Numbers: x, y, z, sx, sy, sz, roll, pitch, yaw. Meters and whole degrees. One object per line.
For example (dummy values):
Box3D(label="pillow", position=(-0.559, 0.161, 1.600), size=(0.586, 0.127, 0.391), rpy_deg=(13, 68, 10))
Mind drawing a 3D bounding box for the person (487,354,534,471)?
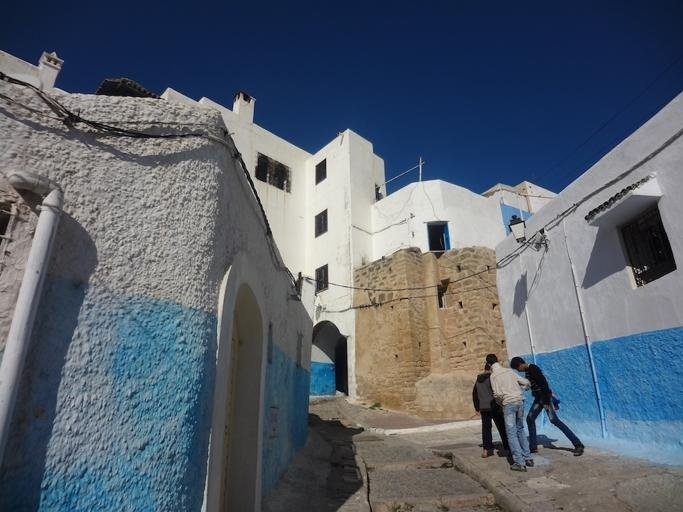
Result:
Box3D(label="person", position=(2.457, 2.153, 5.629), size=(0.516, 1.549, 0.430), rpy_deg=(-15, -24, 26))

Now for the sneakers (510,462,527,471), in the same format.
Box3D(label="sneakers", position=(2.374, 2.808, 5.271), size=(0.213, 0.092, 0.083), rpy_deg=(8, -10, -26))
